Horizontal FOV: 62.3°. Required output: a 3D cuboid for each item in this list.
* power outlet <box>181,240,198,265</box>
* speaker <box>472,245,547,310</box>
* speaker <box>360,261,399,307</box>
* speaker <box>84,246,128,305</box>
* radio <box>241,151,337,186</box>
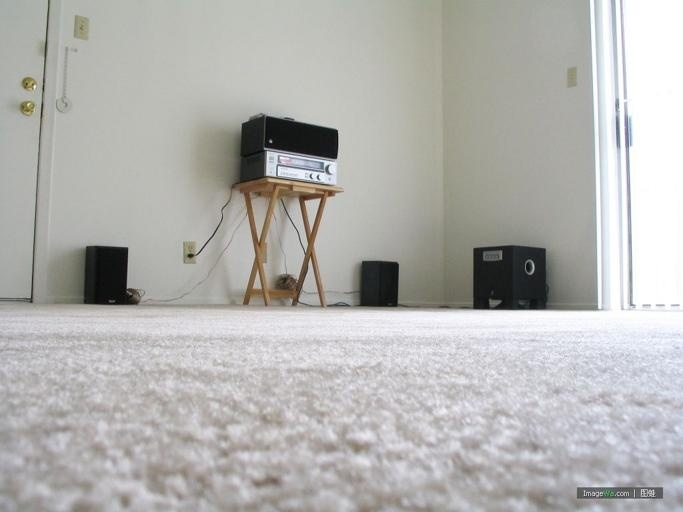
[{"bbox_3d":[-0.859,-0.016,3.169,0.112,0.204,0.019,3,-8,-33],"label":"power outlet"},{"bbox_3d":[0.994,0.123,3.392,0.359,0.409,0.418,2,-2,-4],"label":"speaker"},{"bbox_3d":[0.234,0.177,3.670,0.246,0.287,0.183,0,-2,10],"label":"speaker"},{"bbox_3d":[-1.164,0.095,2.796,0.197,0.279,0.226,1,-2,-27],"label":"speaker"},{"bbox_3d":[-0.303,-0.488,3.192,0.541,0.162,0.301,0,-2,-8],"label":"radio"}]
